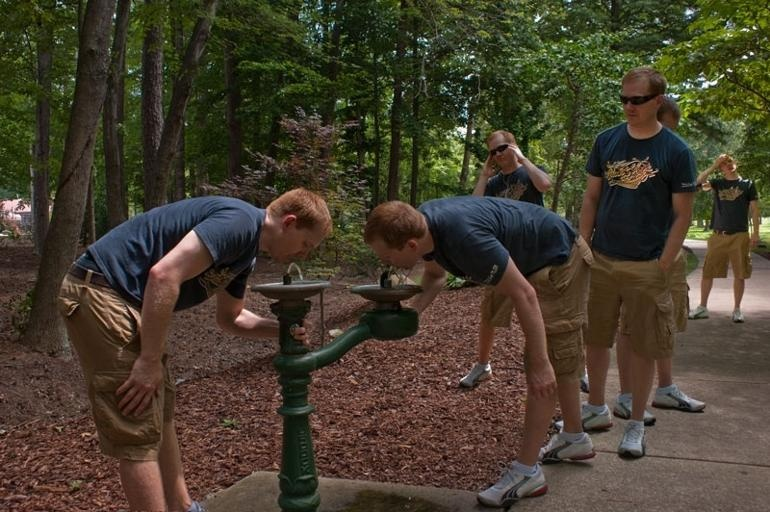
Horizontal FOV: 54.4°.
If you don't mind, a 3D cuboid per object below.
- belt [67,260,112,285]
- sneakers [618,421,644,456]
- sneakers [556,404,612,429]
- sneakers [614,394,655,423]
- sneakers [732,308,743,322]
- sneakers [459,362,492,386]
[{"bbox_3d":[-2.275,0.143,5.741,0.201,0.072,0.205,25,-3,45],"label":"belt"},{"bbox_3d":[2.261,1.634,6.729,0.363,0.258,0.186,3,3,-33],"label":"sneakers"},{"bbox_3d":[1.851,1.514,7.064,0.644,0.262,0.215,1,-5,-15],"label":"sneakers"},{"bbox_3d":[2.393,1.472,7.233,0.175,0.198,0.483,-8,3,-19],"label":"sneakers"},{"bbox_3d":[4.863,0.809,10.361,0.114,0.114,0.306,-4,10,20],"label":"sneakers"},{"bbox_3d":[0.962,1.266,7.898,0.414,0.165,0.163,1,-4,-41],"label":"sneakers"}]
